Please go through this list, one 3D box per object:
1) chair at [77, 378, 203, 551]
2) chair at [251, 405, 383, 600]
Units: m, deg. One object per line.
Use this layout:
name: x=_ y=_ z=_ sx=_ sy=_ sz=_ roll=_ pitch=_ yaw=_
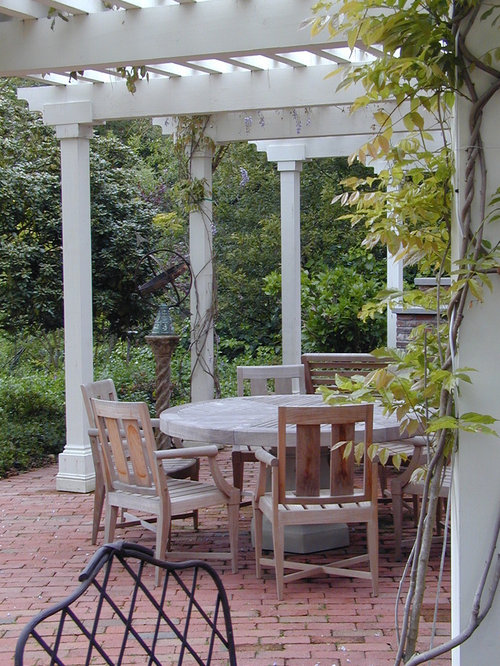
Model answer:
chair: x=-0.434 y=0.755 z=3.959 sx=0.658 sy=0.777 sz=0.675 roll=3 pitch=-4 yaw=-27
chair: x=0.303 y=0.734 z=3.538 sx=0.587 sy=0.953 sz=0.722 roll=-1 pitch=7 yaw=2
